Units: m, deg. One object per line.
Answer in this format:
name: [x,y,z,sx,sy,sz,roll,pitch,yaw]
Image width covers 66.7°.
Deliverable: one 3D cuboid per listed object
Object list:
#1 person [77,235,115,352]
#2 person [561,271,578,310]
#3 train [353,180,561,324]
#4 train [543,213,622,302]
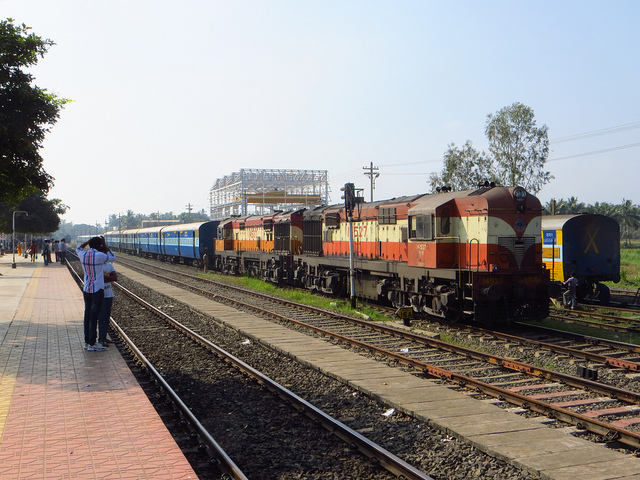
person: [-5.458,1.353,11.832,0.702,2.885,1.072,-3,5,-27]
person: [9.943,1.993,19.357,0.455,1.293,1.463,2,5,27]
train: [3.156,0.404,19.894,3.694,4.541,12.556,-1,1,-28]
train: [11.144,1.040,23.388,2.920,3.896,5.974,-2,0,-5]
